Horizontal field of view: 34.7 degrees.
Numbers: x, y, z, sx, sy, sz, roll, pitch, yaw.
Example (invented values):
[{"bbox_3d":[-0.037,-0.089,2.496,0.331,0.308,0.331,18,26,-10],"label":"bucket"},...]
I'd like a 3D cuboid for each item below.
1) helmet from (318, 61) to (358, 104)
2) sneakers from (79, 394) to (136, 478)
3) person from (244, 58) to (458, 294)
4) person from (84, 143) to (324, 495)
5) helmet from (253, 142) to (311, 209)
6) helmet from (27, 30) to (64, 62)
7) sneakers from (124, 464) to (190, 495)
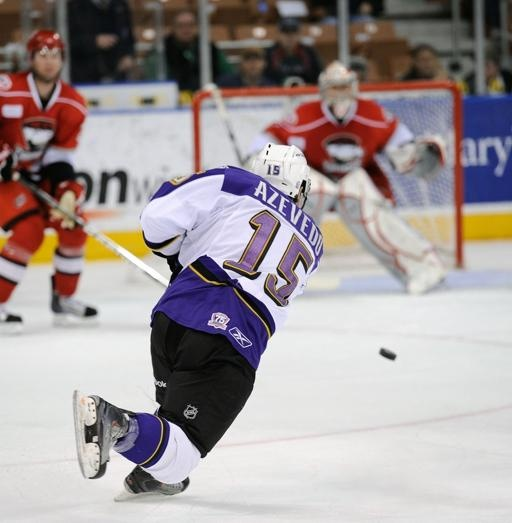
[{"bbox_3d":[0.461,-1.009,4.567,0.201,0.210,0.251,-2,7,3],"label":"helmet"},{"bbox_3d":[-0.333,0.362,1.794,0.156,0.199,0.072,0,-5,-20],"label":"sneakers"},{"bbox_3d":[0.606,-0.437,4.730,1.241,1.294,0.424,3,-14,3],"label":"person"},{"bbox_3d":[-0.151,0.180,1.969,0.388,0.796,0.703,3,11,26],"label":"person"},{"bbox_3d":[0.078,-0.244,2.274,0.151,0.164,0.187,11,5,23],"label":"helmet"},{"bbox_3d":[-0.995,-0.990,3.837,0.127,0.130,0.152,3,-31,-26],"label":"helmet"},{"bbox_3d":[-0.232,0.516,1.929,0.158,0.047,0.102,-8,-26,0],"label":"sneakers"}]
